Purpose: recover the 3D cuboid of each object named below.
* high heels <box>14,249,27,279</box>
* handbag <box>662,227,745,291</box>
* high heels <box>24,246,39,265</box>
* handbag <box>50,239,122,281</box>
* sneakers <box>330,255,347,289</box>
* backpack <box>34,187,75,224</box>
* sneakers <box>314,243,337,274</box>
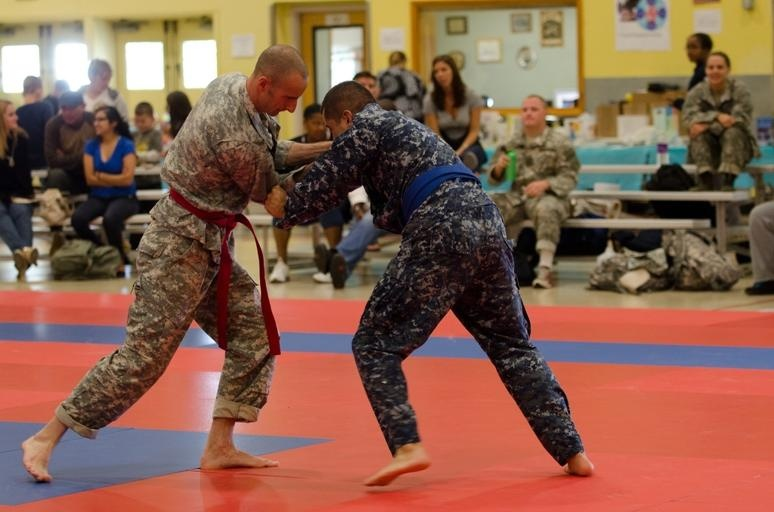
[{"bbox_3d":[-3.694,0.076,7.798,0.107,0.291,0.119,-4,21,-18],"label":"high heels"},{"bbox_3d":[2.709,0.116,6.823,0.642,0.206,0.488,36,57,26],"label":"handbag"},{"bbox_3d":[-3.552,-0.012,7.705,0.079,0.218,0.088,-30,39,-33],"label":"high heels"},{"bbox_3d":[-3.093,0.067,7.941,0.458,0.222,0.541,-1,-5,26],"label":"handbag"},{"bbox_3d":[-0.465,0.153,7.321,0.132,0.320,0.133,1,-6,-2],"label":"sneakers"},{"bbox_3d":[-3.485,-0.535,8.047,0.303,0.399,0.140,-27,13,-14],"label":"backpack"},{"bbox_3d":[-0.608,0.023,7.496,0.131,0.354,0.253,3,1,10],"label":"sneakers"}]
